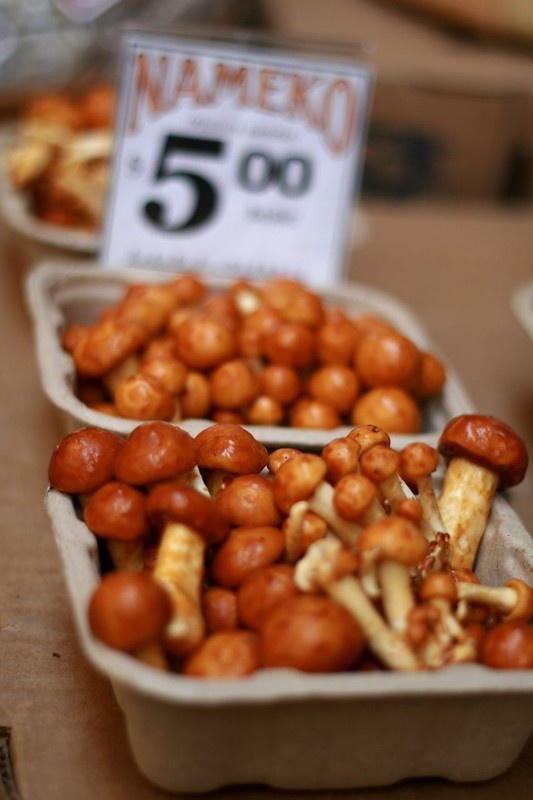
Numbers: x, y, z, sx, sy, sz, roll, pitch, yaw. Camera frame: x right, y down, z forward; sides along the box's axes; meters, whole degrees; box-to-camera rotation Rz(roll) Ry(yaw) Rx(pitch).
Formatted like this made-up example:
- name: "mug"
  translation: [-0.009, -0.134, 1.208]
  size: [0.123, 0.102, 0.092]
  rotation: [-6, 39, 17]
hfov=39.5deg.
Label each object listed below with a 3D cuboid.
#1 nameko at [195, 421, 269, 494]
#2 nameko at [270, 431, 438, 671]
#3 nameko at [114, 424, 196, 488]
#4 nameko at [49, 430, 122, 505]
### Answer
- name: "nameko"
  translation: [-0.056, 0.066, 0.865]
  size: [0.078, 0.077, 0.060]
  rotation: [-2, 72, 46]
- name: "nameko"
  translation: [0.080, 0.146, 0.684]
  size: [0.126, 0.139, 0.173]
  rotation: [16, 40, -28]
- name: "nameko"
  translation: [-0.115, 0.063, 0.790]
  size: [0.072, 0.059, 0.072]
  rotation: [-11, 13, 43]
- name: "nameko"
  translation: [-0.192, 0.069, 0.851]
  size: [0.063, 0.050, 0.081]
  rotation: [30, 63, 21]
